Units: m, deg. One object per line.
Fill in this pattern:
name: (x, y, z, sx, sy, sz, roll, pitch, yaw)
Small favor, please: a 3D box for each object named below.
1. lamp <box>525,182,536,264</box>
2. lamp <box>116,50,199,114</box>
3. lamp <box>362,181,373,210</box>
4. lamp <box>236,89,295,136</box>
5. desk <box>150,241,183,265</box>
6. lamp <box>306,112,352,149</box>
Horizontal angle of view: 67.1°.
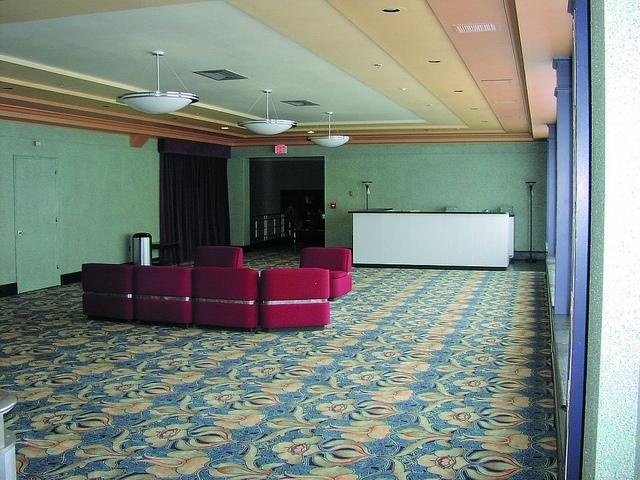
lamp: (6.522, -0.620, 15.000, 0.273, 2.415, 0.516, 2, 9, 21)
lamp: (-2.190, -2.137, 6.556, 1.337, 0.636, 1.015, 0, 25, -10)
lamp: (1.563, -1.494, 15.965, 0.314, 0.908, 0.232, 0, 9, 11)
lamp: (-0.767, -2.414, 9.332, 1.454, 0.693, 1.167, -2, 6, -17)
desk: (-4.423, 0.406, 13.929, 1.020, 0.772, 1.059, -1, 7, -3)
lamp: (0.227, -2.828, 12.180, 1.495, 0.884, 1.165, -1, 4, -9)
